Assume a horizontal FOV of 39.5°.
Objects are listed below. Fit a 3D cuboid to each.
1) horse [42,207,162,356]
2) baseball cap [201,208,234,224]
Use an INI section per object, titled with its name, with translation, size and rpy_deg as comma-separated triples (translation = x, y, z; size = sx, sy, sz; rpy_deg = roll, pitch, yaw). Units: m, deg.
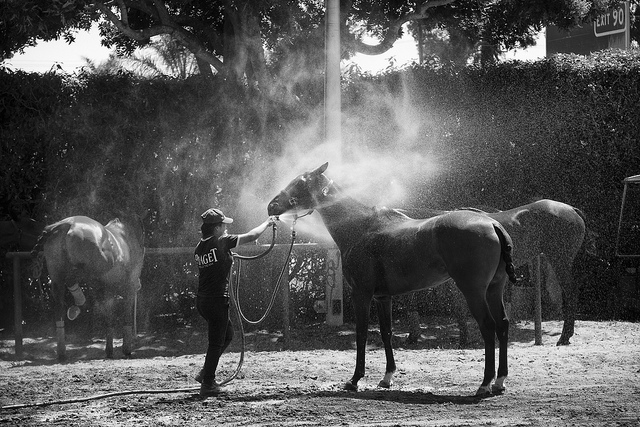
[horse]
translation = -4.913, 1.473, 20.396
size = 2.243, 3.483, 3.329
rpy_deg = -2, -6, 3
[baseball cap]
translation = -1.834, 0.070, 15.766
size = 0.442, 0.185, 0.281
rpy_deg = 1, 6, -23
